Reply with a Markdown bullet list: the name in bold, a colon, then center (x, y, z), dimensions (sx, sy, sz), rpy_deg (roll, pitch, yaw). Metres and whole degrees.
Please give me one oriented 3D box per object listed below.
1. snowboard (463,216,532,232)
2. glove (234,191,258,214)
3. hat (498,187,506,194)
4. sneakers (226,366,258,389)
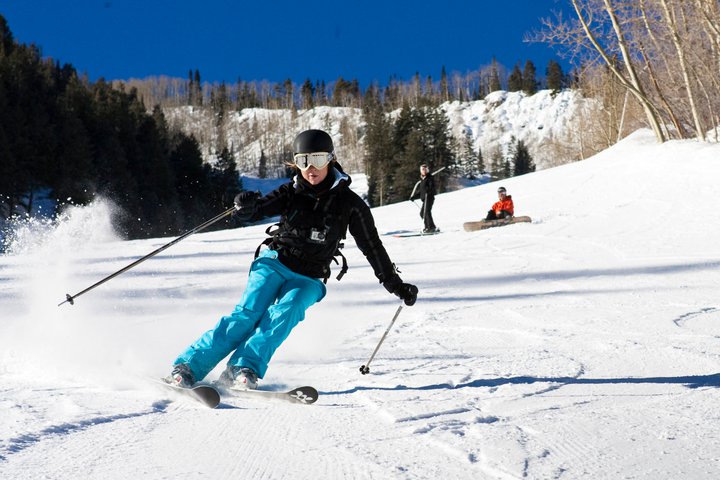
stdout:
- **snowboard**: center (3.646, -0.428, 20.550), dimensions (1.442, 0.341, 0.220), rpy_deg (-8, -28, -4)
- **glove**: center (-1.528, -0.524, 10.523), dimensions (0.331, 0.263, 0.276), rpy_deg (20, 19, 38)
- **hat**: center (3.727, -1.344, 20.655), dimensions (0.159, 0.142, 0.192), rpy_deg (-2, 2, 1)
- **sneakers**: center (-1.530, 1.829, 10.116), dimensions (0.327, 0.289, 0.255), rpy_deg (6, -26, 24)
